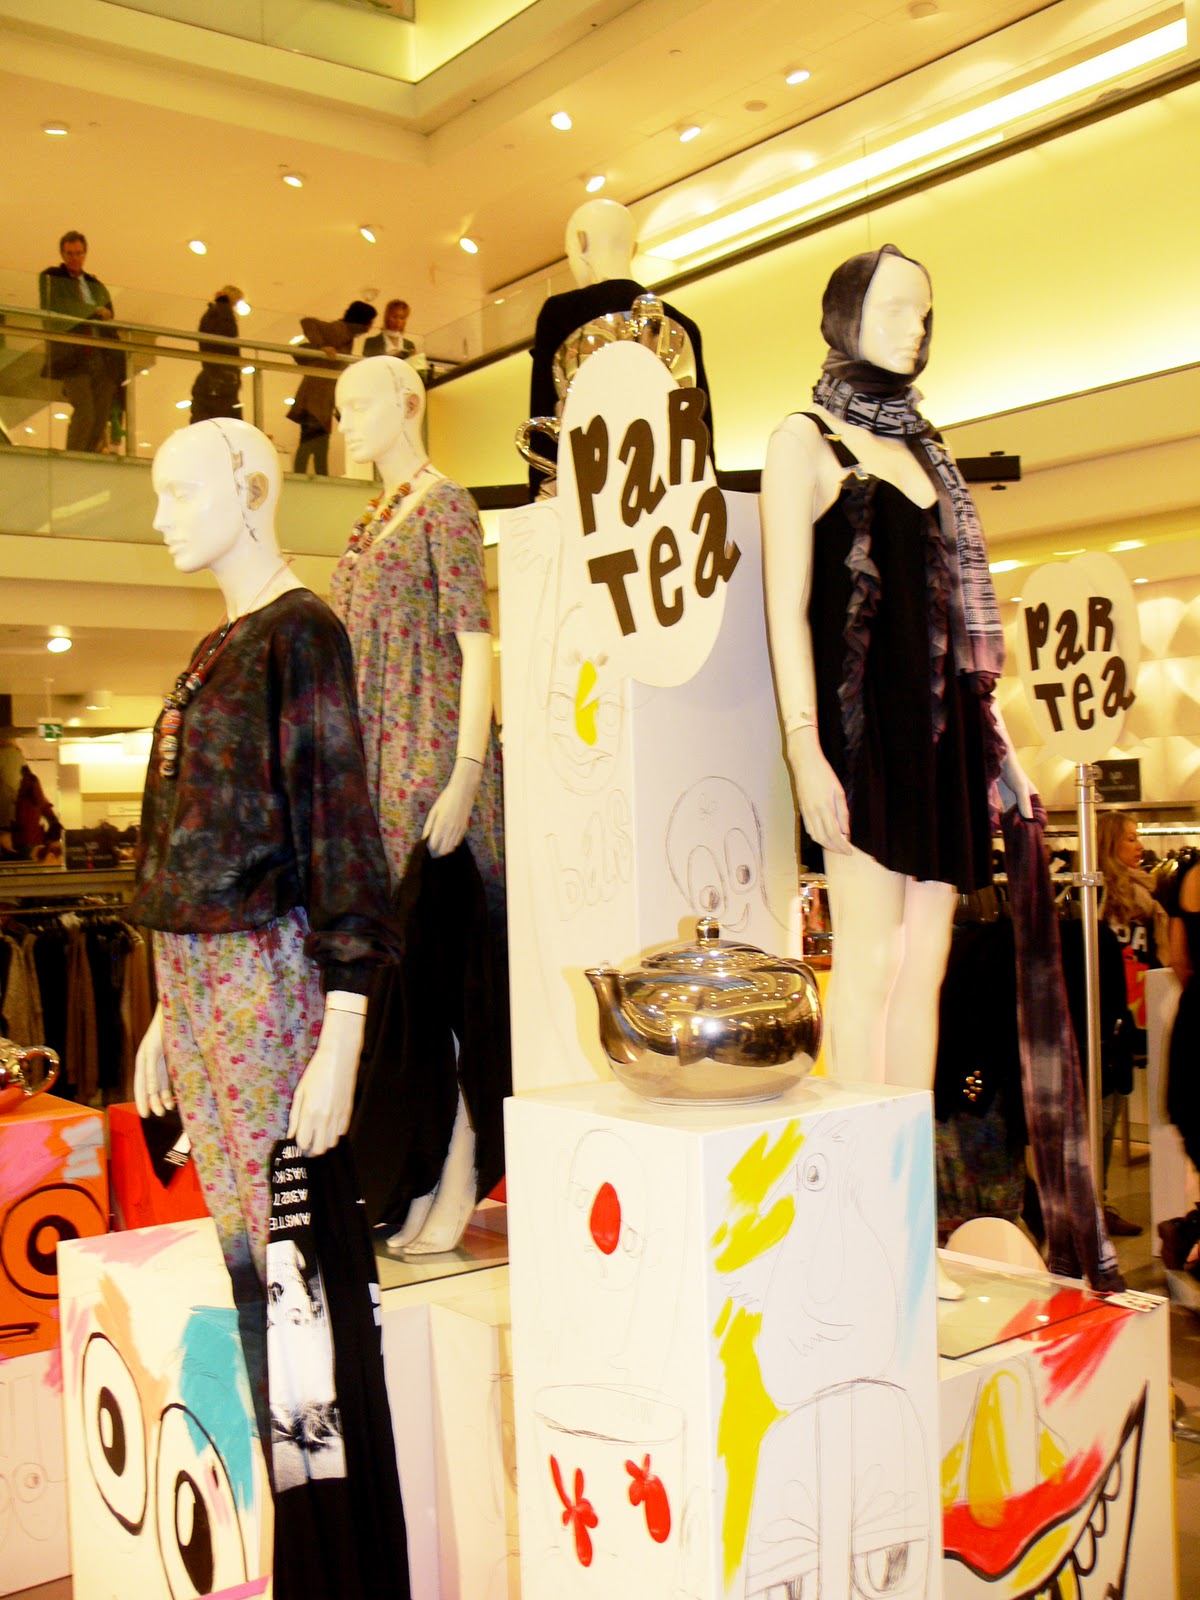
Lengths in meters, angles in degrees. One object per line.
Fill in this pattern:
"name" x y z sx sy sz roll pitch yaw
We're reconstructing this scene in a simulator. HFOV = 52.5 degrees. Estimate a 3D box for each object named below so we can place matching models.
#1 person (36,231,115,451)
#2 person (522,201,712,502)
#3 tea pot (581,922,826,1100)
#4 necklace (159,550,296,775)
"person" -3.106 -2.747 7.248 0.417 1.395 0.649 -2 1 -25
"person" 0.015 -0.802 2.215 0.307 0.209 0.803 -4 -13 -2
"tea pot" 0.072 0.162 0.966 0.153 0.099 0.107 3 -6 -42
"necklace" -0.414 -0.151 1.332 0.131 0.258 0.060 11 3 33
